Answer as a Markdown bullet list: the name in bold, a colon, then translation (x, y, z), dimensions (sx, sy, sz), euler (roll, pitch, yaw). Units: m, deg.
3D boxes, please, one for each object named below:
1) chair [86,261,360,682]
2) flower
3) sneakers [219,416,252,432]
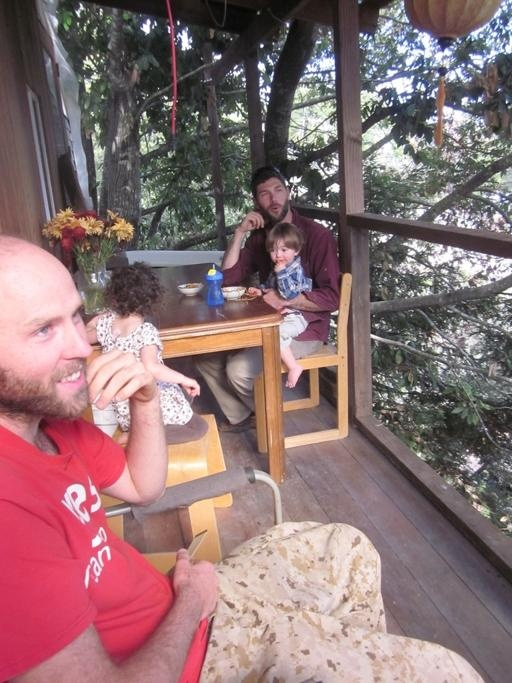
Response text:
- **chair**: translation (-0.378, 0.307, 1.881), dimensions (0.711, 1.237, 0.852), euler (-21, 35, -40)
- **flower**: translation (-0.778, -0.560, 2.393), dimensions (0.264, 0.165, 0.292), euler (-5, -10, 2)
- **sneakers**: translation (-0.117, 0.499, 3.002), dimensions (0.204, 0.084, 0.068), euler (-2, 19, -15)
